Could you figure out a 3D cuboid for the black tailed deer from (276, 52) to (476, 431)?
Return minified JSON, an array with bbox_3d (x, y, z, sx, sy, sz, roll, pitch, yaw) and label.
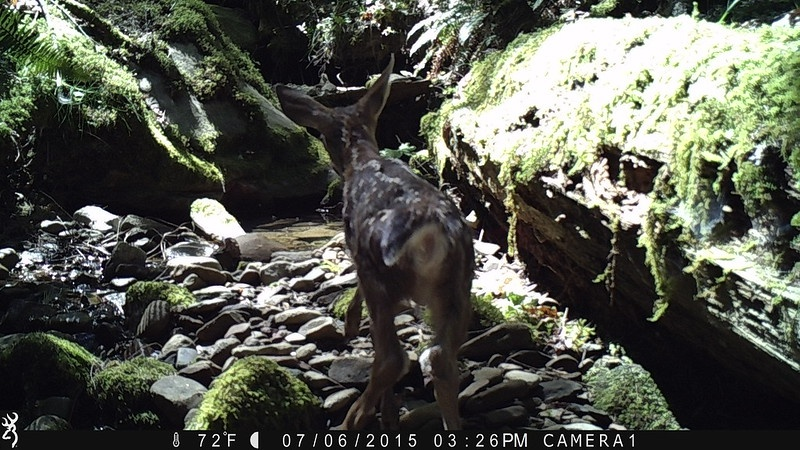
[{"bbox_3d":[-0.129,0.113,3.814,0.833,2.551,1.073,-10,9,-35],"label":"black tailed deer"}]
